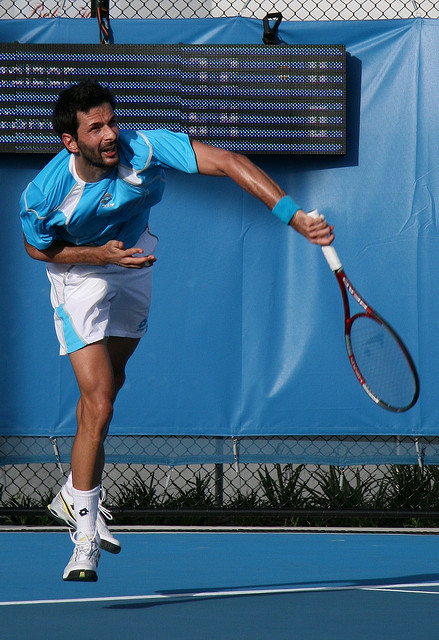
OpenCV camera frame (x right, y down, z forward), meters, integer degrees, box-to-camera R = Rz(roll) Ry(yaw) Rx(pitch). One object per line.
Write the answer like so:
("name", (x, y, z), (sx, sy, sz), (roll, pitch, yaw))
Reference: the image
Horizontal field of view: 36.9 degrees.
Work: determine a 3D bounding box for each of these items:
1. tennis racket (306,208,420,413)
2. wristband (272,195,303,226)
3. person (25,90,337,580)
("tennis racket", (0.557, -0.086, 2.721), (0.077, 0.973, 0.344), (-23, -3, -29))
("wristband", (0.185, -0.303, 1.803), (0.075, 0.088, 0.094), (0, -1, 6))
("person", (-0.266, 0.126, 2.102), (0.671, 1.635, 1.020), (0, -1, -22))
